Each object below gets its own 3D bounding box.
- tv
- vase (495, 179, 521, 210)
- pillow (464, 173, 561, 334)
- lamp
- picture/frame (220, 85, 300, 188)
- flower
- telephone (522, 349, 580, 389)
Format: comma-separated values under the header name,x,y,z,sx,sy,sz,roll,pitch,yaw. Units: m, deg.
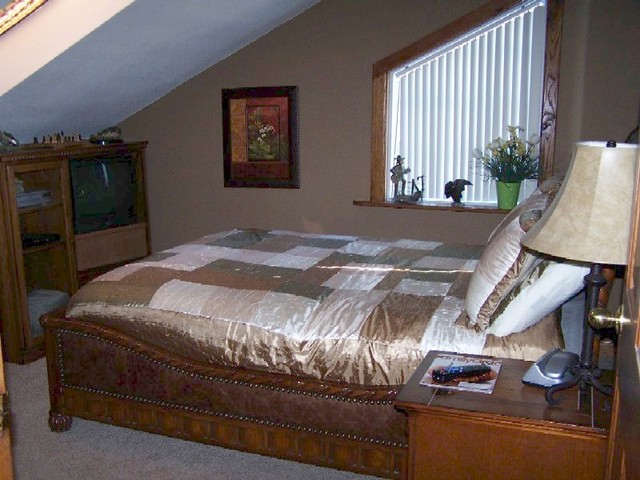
name,x,y,z,sx,sy,sz,roll,pitch,yaw
tv,-2.020,-0.427,4.645,0.368,0.594,0.687,3,12,15
vase,1.645,-0.398,4.449,0.233,0.269,0.247,0,4,-3
pillow,0.986,0.056,2.578,0.432,0.378,0.955,-10,21,35
lamp,0.880,0.123,1.636,0.334,0.879,0.394,-2,9,-10
picture/frame,-0.582,-1.091,5.148,0.980,1.237,0.084,1,7,13
flower,1.637,-0.729,4.500,0.506,0.382,0.514,-15,13,-33
telephone,0.887,0.472,1.898,0.259,0.080,0.147,-13,10,-39
